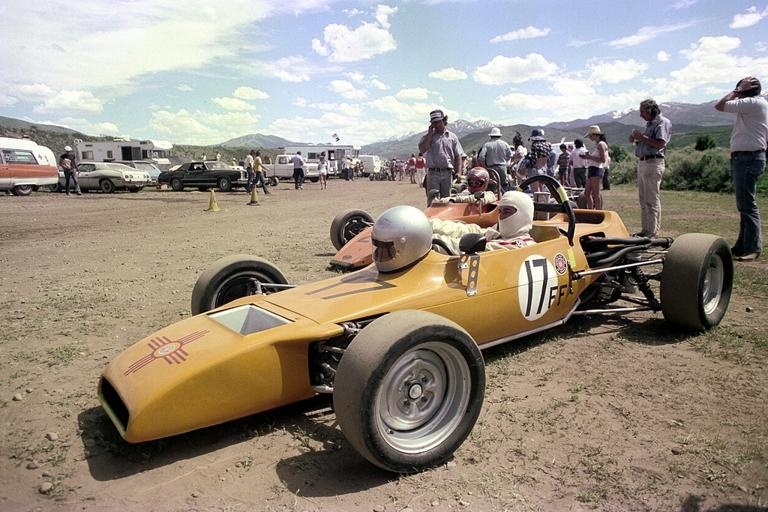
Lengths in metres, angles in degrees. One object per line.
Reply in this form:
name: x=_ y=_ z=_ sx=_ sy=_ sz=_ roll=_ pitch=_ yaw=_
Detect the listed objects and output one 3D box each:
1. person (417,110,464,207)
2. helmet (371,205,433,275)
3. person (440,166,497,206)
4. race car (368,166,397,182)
person: x=1.079 y=-1.816 z=8.244 sx=0.802 sy=2.681 sz=1.323 roll=0 pitch=1 yaw=11
helmet: x=0.126 y=-0.166 z=3.672 sx=0.586 sy=0.490 sz=0.457 roll=-16 pitch=16 yaw=-12
person: x=1.396 y=-1.130 z=6.771 sx=0.669 sy=0.467 sz=0.978 roll=19 pitch=39 yaw=32
race car: x=-0.162 y=-7.741 z=40.010 sx=2.666 sy=1.264 sz=1.553 roll=0 pitch=3 yaw=7
